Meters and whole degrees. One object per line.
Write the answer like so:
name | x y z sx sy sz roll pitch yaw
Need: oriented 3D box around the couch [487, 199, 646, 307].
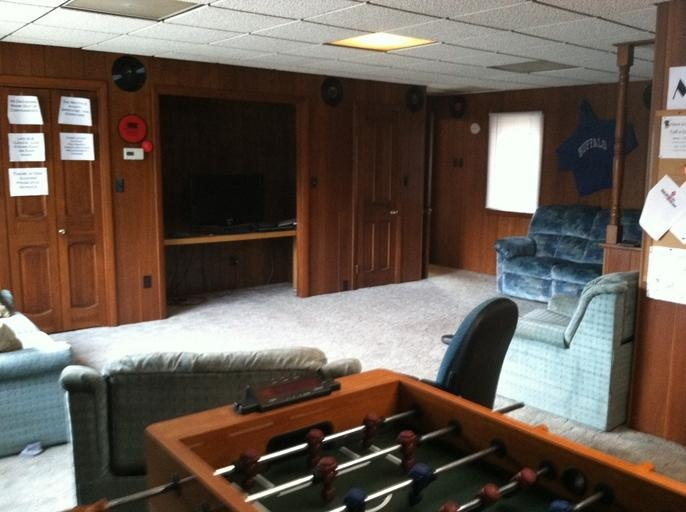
couch | 3.084 -0.008 7.052 0.974 1.157 1.665 -19 18 -29

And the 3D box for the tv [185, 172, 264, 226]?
tv | -1.607 -0.756 6.873 0.749 0.504 0.102 -6 12 -32

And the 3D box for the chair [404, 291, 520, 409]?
chair | 0.714 0.485 2.716 0.453 0.697 0.660 9 -3 -23

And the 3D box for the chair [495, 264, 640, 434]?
chair | 1.889 0.616 4.266 0.985 1.019 1.101 6 12 42
